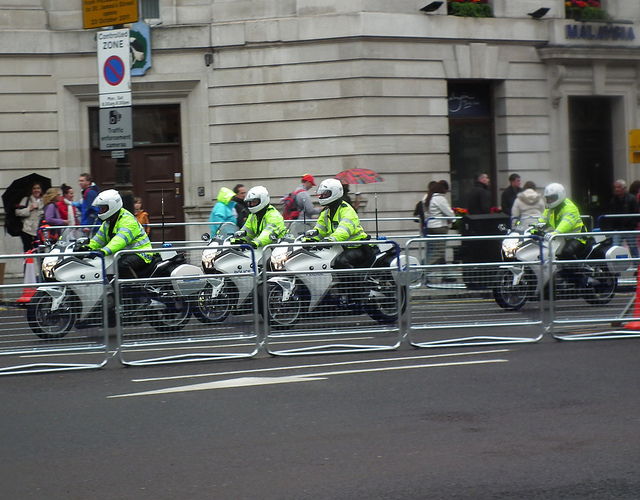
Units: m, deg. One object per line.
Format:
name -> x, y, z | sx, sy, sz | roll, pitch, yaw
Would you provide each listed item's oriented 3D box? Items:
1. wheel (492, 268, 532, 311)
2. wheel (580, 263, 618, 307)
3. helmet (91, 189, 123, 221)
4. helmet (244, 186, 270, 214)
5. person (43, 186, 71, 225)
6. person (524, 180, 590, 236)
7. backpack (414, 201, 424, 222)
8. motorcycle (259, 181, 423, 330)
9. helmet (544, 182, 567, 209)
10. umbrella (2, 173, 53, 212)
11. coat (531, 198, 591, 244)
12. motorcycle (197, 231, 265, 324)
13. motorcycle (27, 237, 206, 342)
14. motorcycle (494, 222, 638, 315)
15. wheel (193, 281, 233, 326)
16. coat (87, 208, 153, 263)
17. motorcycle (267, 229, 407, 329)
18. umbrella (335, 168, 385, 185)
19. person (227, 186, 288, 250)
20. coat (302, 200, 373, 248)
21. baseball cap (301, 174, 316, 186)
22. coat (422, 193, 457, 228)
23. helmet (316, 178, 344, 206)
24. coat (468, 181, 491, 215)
wheel -> 2.571, 0.543, 16.447 | 0.748, 0.628, 0.170 | 2, -3, -12
wheel -> 3.802, 0.477, 16.584 | 0.565, 0.586, 0.173 | -4, 4, -30
helmet -> -2.968, -0.685, 17.515 | 0.550, 0.377, 0.357 | -6, 20, -21
helmet -> -0.944, -0.779, 18.547 | 0.466, 0.338, 0.362 | -7, 14, -37
person -> -4.767, -0.787, 22.075 | 0.416, 0.647, 0.333 | -3, 4, -10
person -> 3.890, -0.552, 19.224 | 0.898, 0.958, 0.782 | -6, 27, 18
backpack -> 2.040, -0.783, 24.558 | 0.353, 0.305, 0.391 | 0, -16, 5
motorcycle -> 0.221, 0.344, 16.736 | 2.923, 1.353, 0.858 | 0, -7, -45
helmet -> 3.732, -0.878, 19.187 | 0.471, 0.351, 0.317 | -12, 8, -26
umbrella -> -5.924, -1.234, 24.514 | 1.092, 0.922, 0.495 | -14, 49, -40
coat -> 3.858, -0.428, 19.011 | 0.752, 0.404, 0.534 | 9, -16, -25
motorcycle -> -1.199, 0.410, 16.601 | 0.869, 0.999, 1.674 | -2, 3, -3
motorcycle -> -2.707, 0.479, 16.157 | 2.678, 1.176, 0.916 | -1, -4, -44
motorcycle -> 3.480, 0.266, 17.316 | 1.793, 1.043, 2.164 | -1, 3, 11
wheel -> -1.399, 0.716, 15.862 | 0.756, 0.559, 0.253 | 1, -6, -8
coat -> -2.886, -0.185, 17.500 | 1.100, 0.695, 0.730 | -6, 8, -20
motorcycle -> 0.170, 0.404, 16.573 | 2.678, 1.233, 0.889 | 2, -12, -42
umbrella -> 0.809, -1.476, 24.340 | 0.933, 0.297, 0.830 | 1, 6, 18
person -> -0.914, -0.511, 18.563 | 1.108, 0.814, 0.773 | -15, 15, -42
coat -> 0.219, -0.396, 17.884 | 0.898, 0.539, 0.809 | -1, 16, 8
baseball cap -> -0.194, -1.386, 23.854 | 0.189, 0.122, 0.272 | 9, -6, 35
coat -> 2.275, -0.683, 22.664 | 0.530, 0.661, 0.675 | 6, -15, -19
helmet -> 0.146, -0.880, 18.086 | 0.493, 0.298, 0.323 | -4, 9, -8
coat -> 3.038, -0.999, 23.143 | 0.418, 0.613, 0.592 | -2, 3, 6
